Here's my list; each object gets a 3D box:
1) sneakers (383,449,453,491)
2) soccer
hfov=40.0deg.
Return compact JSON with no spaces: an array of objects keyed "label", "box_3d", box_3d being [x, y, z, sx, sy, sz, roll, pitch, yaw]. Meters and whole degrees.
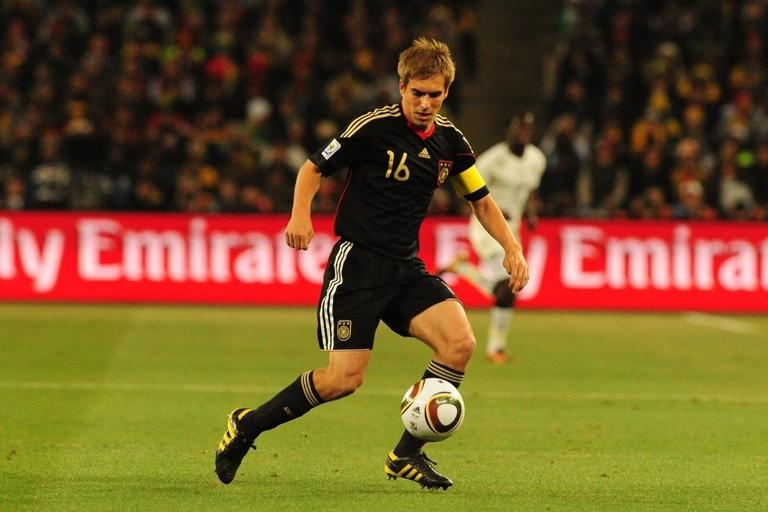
[{"label":"sneakers","box_3d":[0.278,1.748,8.659,0.588,0.256,0.206,10,-5,24]},{"label":"soccer","box_3d":[0.398,1.276,8.687,0.539,0.489,0.507,-8,-4,0]}]
